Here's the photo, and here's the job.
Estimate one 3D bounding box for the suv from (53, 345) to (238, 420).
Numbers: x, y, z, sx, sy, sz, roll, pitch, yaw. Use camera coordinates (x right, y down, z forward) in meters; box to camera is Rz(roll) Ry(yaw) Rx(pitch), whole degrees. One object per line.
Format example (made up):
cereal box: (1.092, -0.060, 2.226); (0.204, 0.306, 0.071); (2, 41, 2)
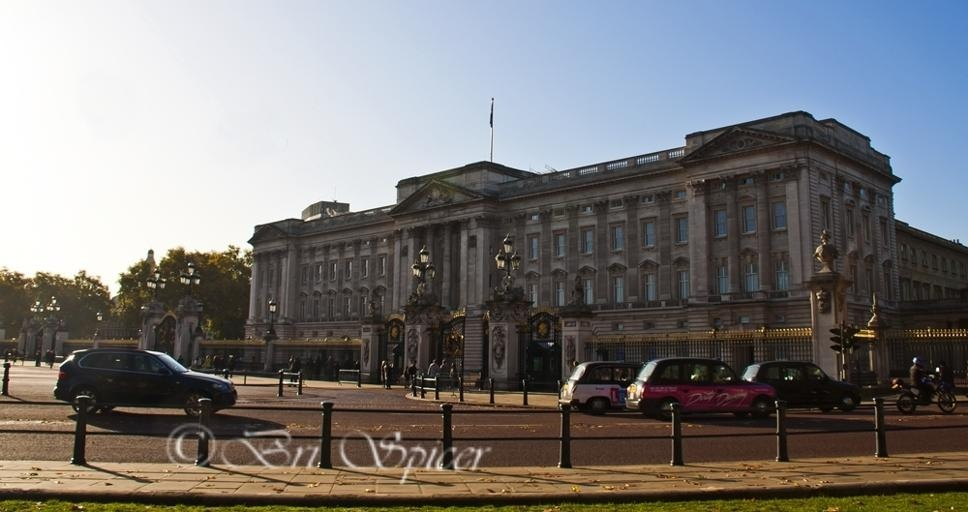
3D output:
suv: (-15.718, 5.623, 39.343); (8.078, 3.138, 2.283); (1, -8, -5)

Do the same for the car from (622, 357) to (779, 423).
car: (10.003, 6.178, 40.936); (6.444, 2.112, 2.820); (-1, -6, -5)

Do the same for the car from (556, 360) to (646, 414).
car: (5.684, 6.402, 43.347); (4.275, 1.627, 2.287); (-1, -4, -11)

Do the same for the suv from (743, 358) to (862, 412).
suv: (15.581, 6.520, 45.044); (7.082, 2.416, 2.792); (0, -4, 0)
